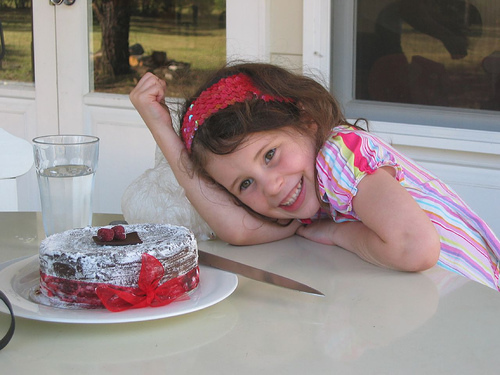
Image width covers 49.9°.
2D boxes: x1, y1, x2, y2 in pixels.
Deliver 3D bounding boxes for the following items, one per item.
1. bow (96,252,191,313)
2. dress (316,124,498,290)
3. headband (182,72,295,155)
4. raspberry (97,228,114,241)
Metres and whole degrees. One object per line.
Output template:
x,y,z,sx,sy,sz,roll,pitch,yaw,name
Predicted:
-0.178,0.156,0.895,0.147,0.085,0.028,-5,12,-18,bow
0.393,0.041,1.346,0.451,0.370,0.323,1,12,8,dress
-0.024,-0.192,1.392,0.296,0.204,0.125,-4,12,-11,headband
-0.249,0.082,0.939,0.022,0.020,0.017,2,9,-31,raspberry
